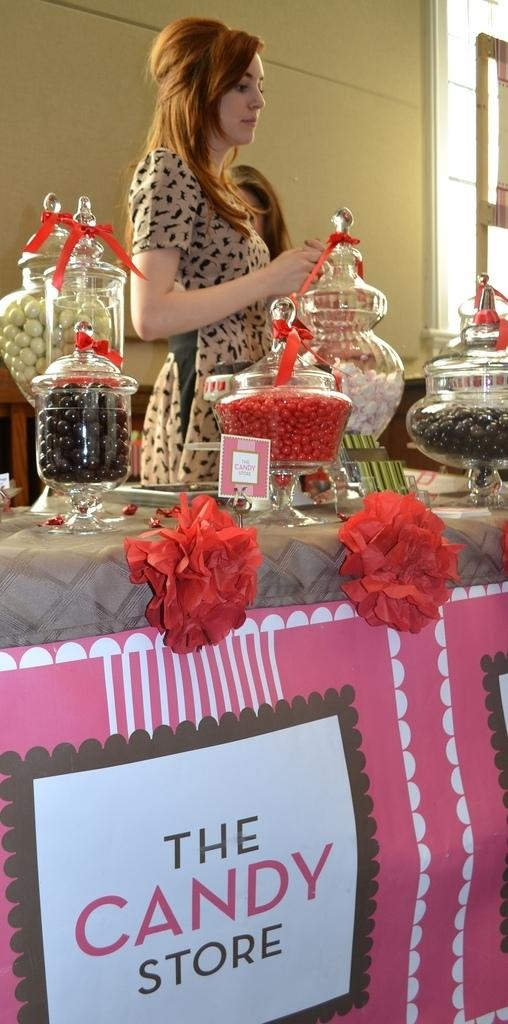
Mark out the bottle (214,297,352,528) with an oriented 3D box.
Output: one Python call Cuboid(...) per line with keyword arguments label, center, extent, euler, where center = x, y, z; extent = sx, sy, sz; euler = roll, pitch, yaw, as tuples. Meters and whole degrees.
Cuboid(label="bottle", center=(0.041, -0.111, 0.979), extent=(0.180, 0.339, 0.220), euler=(-1, 3, 5))
